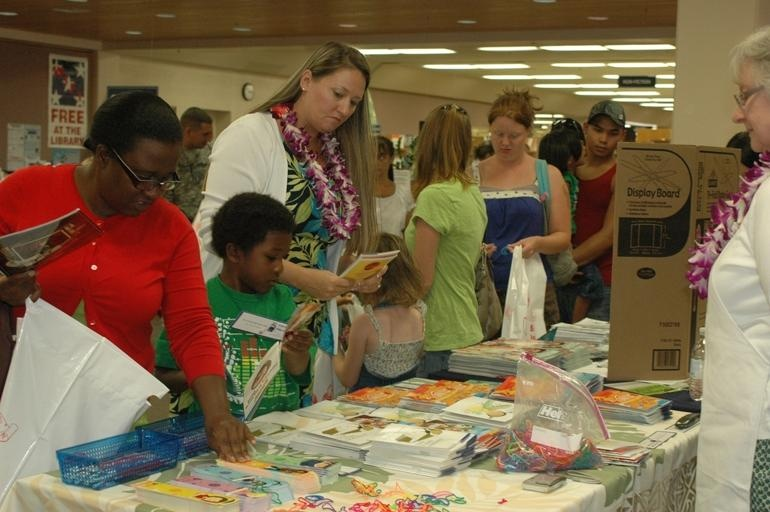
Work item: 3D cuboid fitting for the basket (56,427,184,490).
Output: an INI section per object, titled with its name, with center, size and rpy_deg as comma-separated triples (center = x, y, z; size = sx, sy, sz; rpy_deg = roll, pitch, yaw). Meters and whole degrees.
[basket]
center = -0.750, 0.551, 1.717
size = 0.139, 0.072, 0.233
rpy_deg = 2, 6, 36

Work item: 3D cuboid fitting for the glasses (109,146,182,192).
[glasses]
center = -0.714, -0.279, 1.817
size = 0.135, 0.039, 0.135
rpy_deg = 37, 10, 14

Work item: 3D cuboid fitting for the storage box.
[storage box]
center = 1.187, 0.047, 2.494
size = 0.362, 1.059, 1.095
rpy_deg = 2, 3, 21

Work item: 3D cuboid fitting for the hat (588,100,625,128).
[hat]
center = 1.678, -1.061, 4.503
size = 0.200, 0.143, 0.281
rpy_deg = 15, -7, 21
